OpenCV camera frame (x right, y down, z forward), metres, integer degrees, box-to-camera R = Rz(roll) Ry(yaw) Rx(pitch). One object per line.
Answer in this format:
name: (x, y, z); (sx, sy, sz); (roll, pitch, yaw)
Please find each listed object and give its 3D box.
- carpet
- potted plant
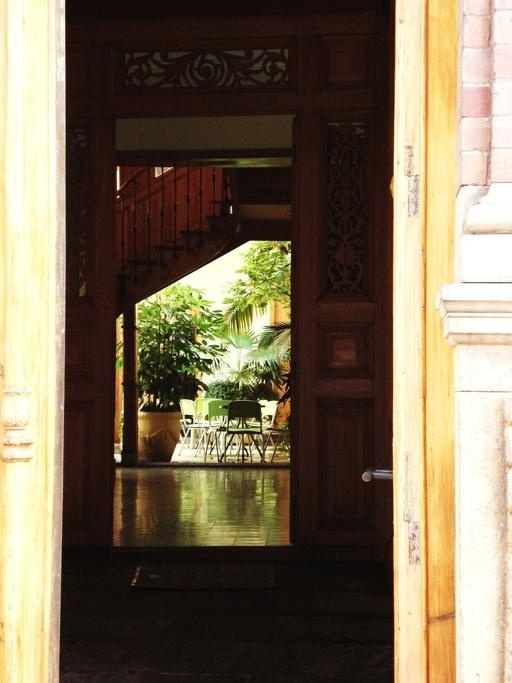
carpet: (-0.241, 0.966, 5.009); (0.646, 0.028, 0.462); (-1, 5, 0)
potted plant: (-0.987, 0.332, 10.224); (0.503, 1.183, 0.636); (-6, -2, 31)
